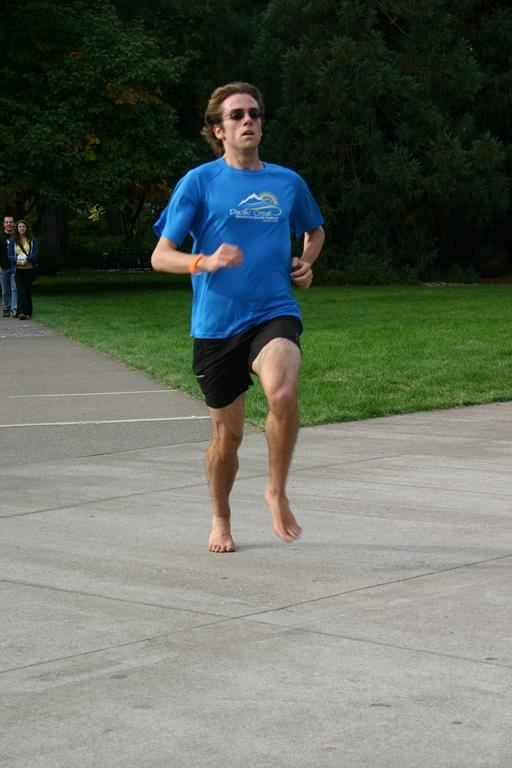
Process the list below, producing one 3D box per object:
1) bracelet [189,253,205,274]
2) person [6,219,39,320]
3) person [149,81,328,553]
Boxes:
[{"bbox_3d":[-0.228,-0.459,3.838,0.028,0.064,0.060,12,16,3],"label":"bracelet"},{"bbox_3d":[-4.618,-2.263,20.125,0.549,1.952,0.700,-3,7,-12],"label":"person"},{"bbox_3d":[-0.077,-0.276,4.198,0.675,2.011,0.915,-1,7,3],"label":"person"}]
